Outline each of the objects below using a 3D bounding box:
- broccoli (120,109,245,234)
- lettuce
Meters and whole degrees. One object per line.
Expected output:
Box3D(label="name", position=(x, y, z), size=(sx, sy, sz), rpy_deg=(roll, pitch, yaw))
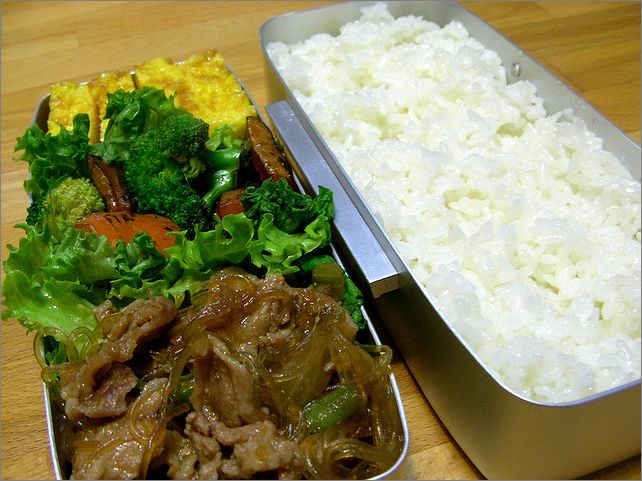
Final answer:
Box3D(label="broccoli", position=(-0.494, -0.258, 1.967), size=(0.465, 0.327, 0.245), rpy_deg=(-26, 81, -10))
Box3D(label="lettuce", position=(-0.471, 0.073, 1.653), size=(0.727, 0.211, 0.381), rpy_deg=(-9, 24, -12))
